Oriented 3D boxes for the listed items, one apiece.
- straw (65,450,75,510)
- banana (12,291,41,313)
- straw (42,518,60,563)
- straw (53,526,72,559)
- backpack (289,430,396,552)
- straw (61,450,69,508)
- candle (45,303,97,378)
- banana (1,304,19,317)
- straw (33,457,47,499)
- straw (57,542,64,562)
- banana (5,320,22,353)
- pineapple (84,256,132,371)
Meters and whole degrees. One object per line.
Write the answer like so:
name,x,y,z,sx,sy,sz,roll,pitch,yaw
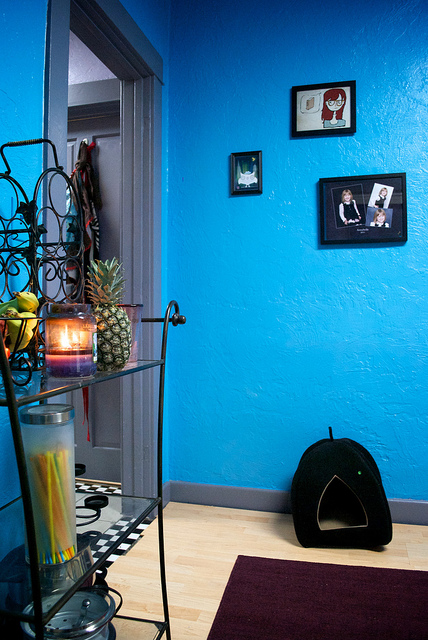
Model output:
straw,-0.275,0.301,0.957,0.010,0.099,0.012,-7,11,-2
banana,-0.361,-0.036,0.962,0.023,0.036,0.058,-6,-3,-7
straw,-0.304,0.396,0.924,0.011,0.120,0.008,-5,16,24
straw,-0.281,0.428,0.947,0.011,0.091,0.007,-21,14,4
backpack,0.487,0.659,2.123,0.375,0.441,0.412,-8,-2,3
straw,-0.280,0.295,0.941,0.010,0.114,0.008,-8,14,-20
candle,-0.255,0.037,0.972,0.105,0.130,0.088,1,1,23
banana,-0.379,-0.019,0.930,0.028,0.024,0.058,0,-2,-23
straw,-0.315,0.279,0.912,0.012,0.085,0.013,-15,3,9
straw,-0.288,0.435,0.939,0.005,0.027,0.004,-14,6,1
banana,-0.360,0.024,0.901,0.034,0.041,0.043,10,2,-35
pineapple,-0.236,-0.020,1.116,0.087,0.216,0.083,-5,-4,-27
